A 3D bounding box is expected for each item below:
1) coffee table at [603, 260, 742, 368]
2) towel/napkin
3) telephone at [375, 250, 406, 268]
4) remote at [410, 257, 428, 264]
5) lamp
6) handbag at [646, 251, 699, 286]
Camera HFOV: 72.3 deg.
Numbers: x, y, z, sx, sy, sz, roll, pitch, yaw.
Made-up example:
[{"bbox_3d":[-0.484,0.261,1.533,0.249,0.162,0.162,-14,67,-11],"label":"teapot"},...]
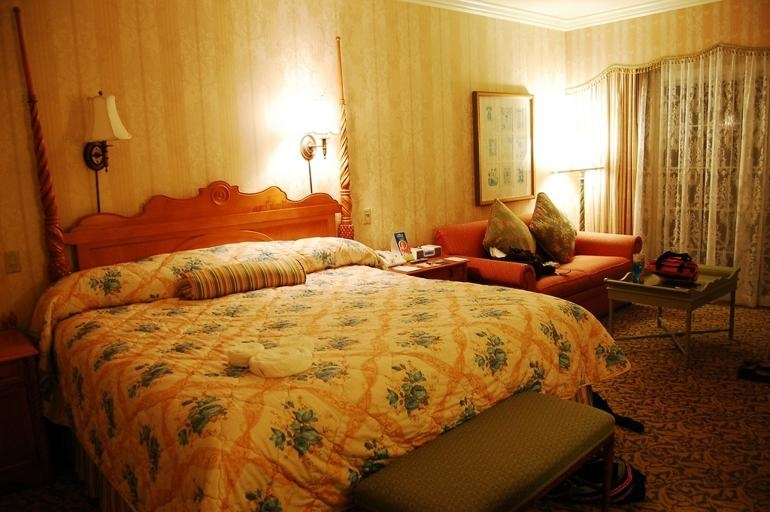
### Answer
[{"bbox_3d":[2.602,0.360,5.013,1.319,0.769,0.911,-8,9,-43],"label":"coffee table"},{"bbox_3d":[-0.625,0.558,2.988,0.475,0.122,0.349,3,14,31],"label":"towel/napkin"},{"bbox_3d":[0.036,0.014,5.176,0.200,0.060,0.203,16,15,36],"label":"telephone"},{"bbox_3d":[0.347,0.044,5.323,0.056,0.018,0.244,35,25,30],"label":"remote"},{"bbox_3d":[-2.199,-0.988,4.160,0.374,0.650,0.236,-10,14,-24],"label":"lamp"},{"bbox_3d":[2.728,0.116,4.932,0.356,0.265,0.444,-12,13,-28],"label":"handbag"}]
